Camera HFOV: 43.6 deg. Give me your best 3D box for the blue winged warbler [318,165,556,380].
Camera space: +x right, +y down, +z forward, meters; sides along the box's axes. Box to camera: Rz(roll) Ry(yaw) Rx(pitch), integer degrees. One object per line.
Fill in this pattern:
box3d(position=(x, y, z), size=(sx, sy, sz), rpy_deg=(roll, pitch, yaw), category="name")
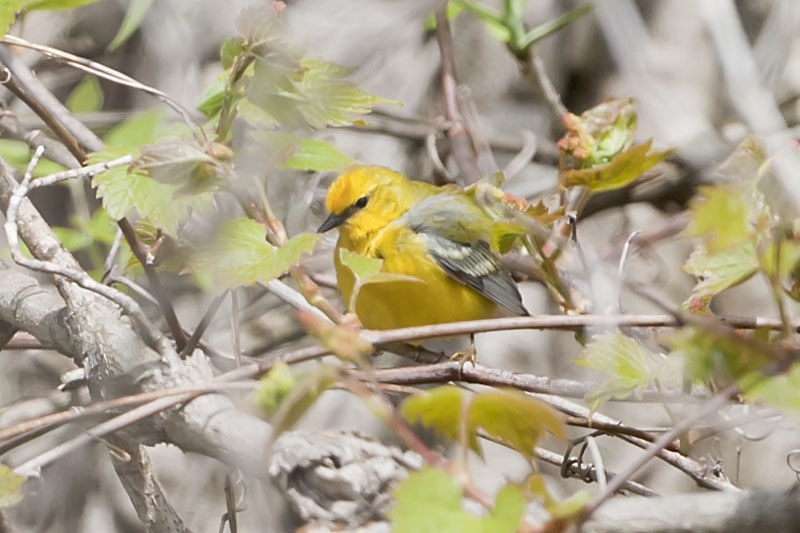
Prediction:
box3d(position=(0.077, -0.024, 1.838), size=(0.449, 0.333, 0.291), rpy_deg=(-15, 8, -43), category="blue winged warbler")
